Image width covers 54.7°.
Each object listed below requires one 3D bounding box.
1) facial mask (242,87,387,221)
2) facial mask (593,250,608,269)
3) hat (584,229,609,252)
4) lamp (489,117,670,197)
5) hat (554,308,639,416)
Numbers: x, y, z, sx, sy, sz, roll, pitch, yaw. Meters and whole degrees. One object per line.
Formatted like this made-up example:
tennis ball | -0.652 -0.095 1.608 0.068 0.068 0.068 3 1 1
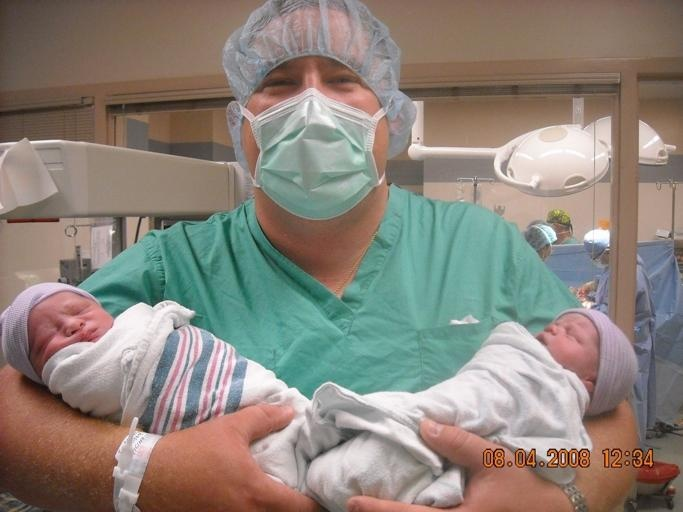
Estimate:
facial mask | -0.072 -0.269 1.693 0.266 0.230 0.328 -2 13 1
facial mask | 0.978 0.016 2.473 0.054 0.062 0.065 -15 -31 42
hat | 0.957 -0.060 2.502 0.086 0.072 0.070 4 -7 44
lamp | 0.825 -0.373 2.413 0.443 0.296 0.671 -5 8 -36
hat | 0.611 0.269 1.620 0.133 0.239 0.135 8 9 -4
